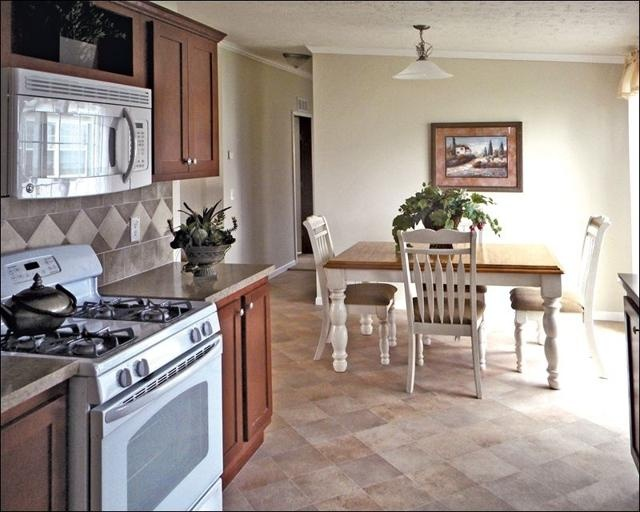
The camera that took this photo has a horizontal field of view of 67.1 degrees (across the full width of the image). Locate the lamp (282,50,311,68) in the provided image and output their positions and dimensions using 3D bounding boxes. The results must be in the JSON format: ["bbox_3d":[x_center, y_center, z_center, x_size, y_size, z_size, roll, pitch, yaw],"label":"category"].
[{"bbox_3d":[-0.293,-2.558,6.189,0.259,0.072,0.272,-5,-6,21],"label":"lamp"}]

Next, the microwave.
[{"bbox_3d":[-0.979,-0.499,2.000,0.160,0.491,0.720,3,10,18],"label":"microwave"}]

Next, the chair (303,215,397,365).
[{"bbox_3d":[0.266,0.252,4.077,0.766,1.134,0.624,3,11,9],"label":"chair"}]

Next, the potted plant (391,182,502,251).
[{"bbox_3d":[1.004,-0.362,3.854,0.697,0.377,0.673,2,-7,-44],"label":"potted plant"}]

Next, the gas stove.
[{"bbox_3d":[-0.835,0.248,1.769,0.510,0.300,0.716,2,8,7],"label":"gas stove"}]

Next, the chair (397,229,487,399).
[{"bbox_3d":[0.917,0.366,3.466,0.685,1.114,0.748,-2,4,3],"label":"chair"}]

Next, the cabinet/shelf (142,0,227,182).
[{"bbox_3d":[-0.707,-0.854,2.650,0.208,0.861,0.711,1,9,9],"label":"cabinet/shelf"}]

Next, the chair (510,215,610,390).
[{"bbox_3d":[1.912,0.182,3.743,0.555,0.790,0.583,-2,8,28],"label":"chair"}]

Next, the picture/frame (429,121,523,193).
[{"bbox_3d":[1.731,-1.100,5.220,1.003,0.829,0.046,0,1,8],"label":"picture/frame"}]
